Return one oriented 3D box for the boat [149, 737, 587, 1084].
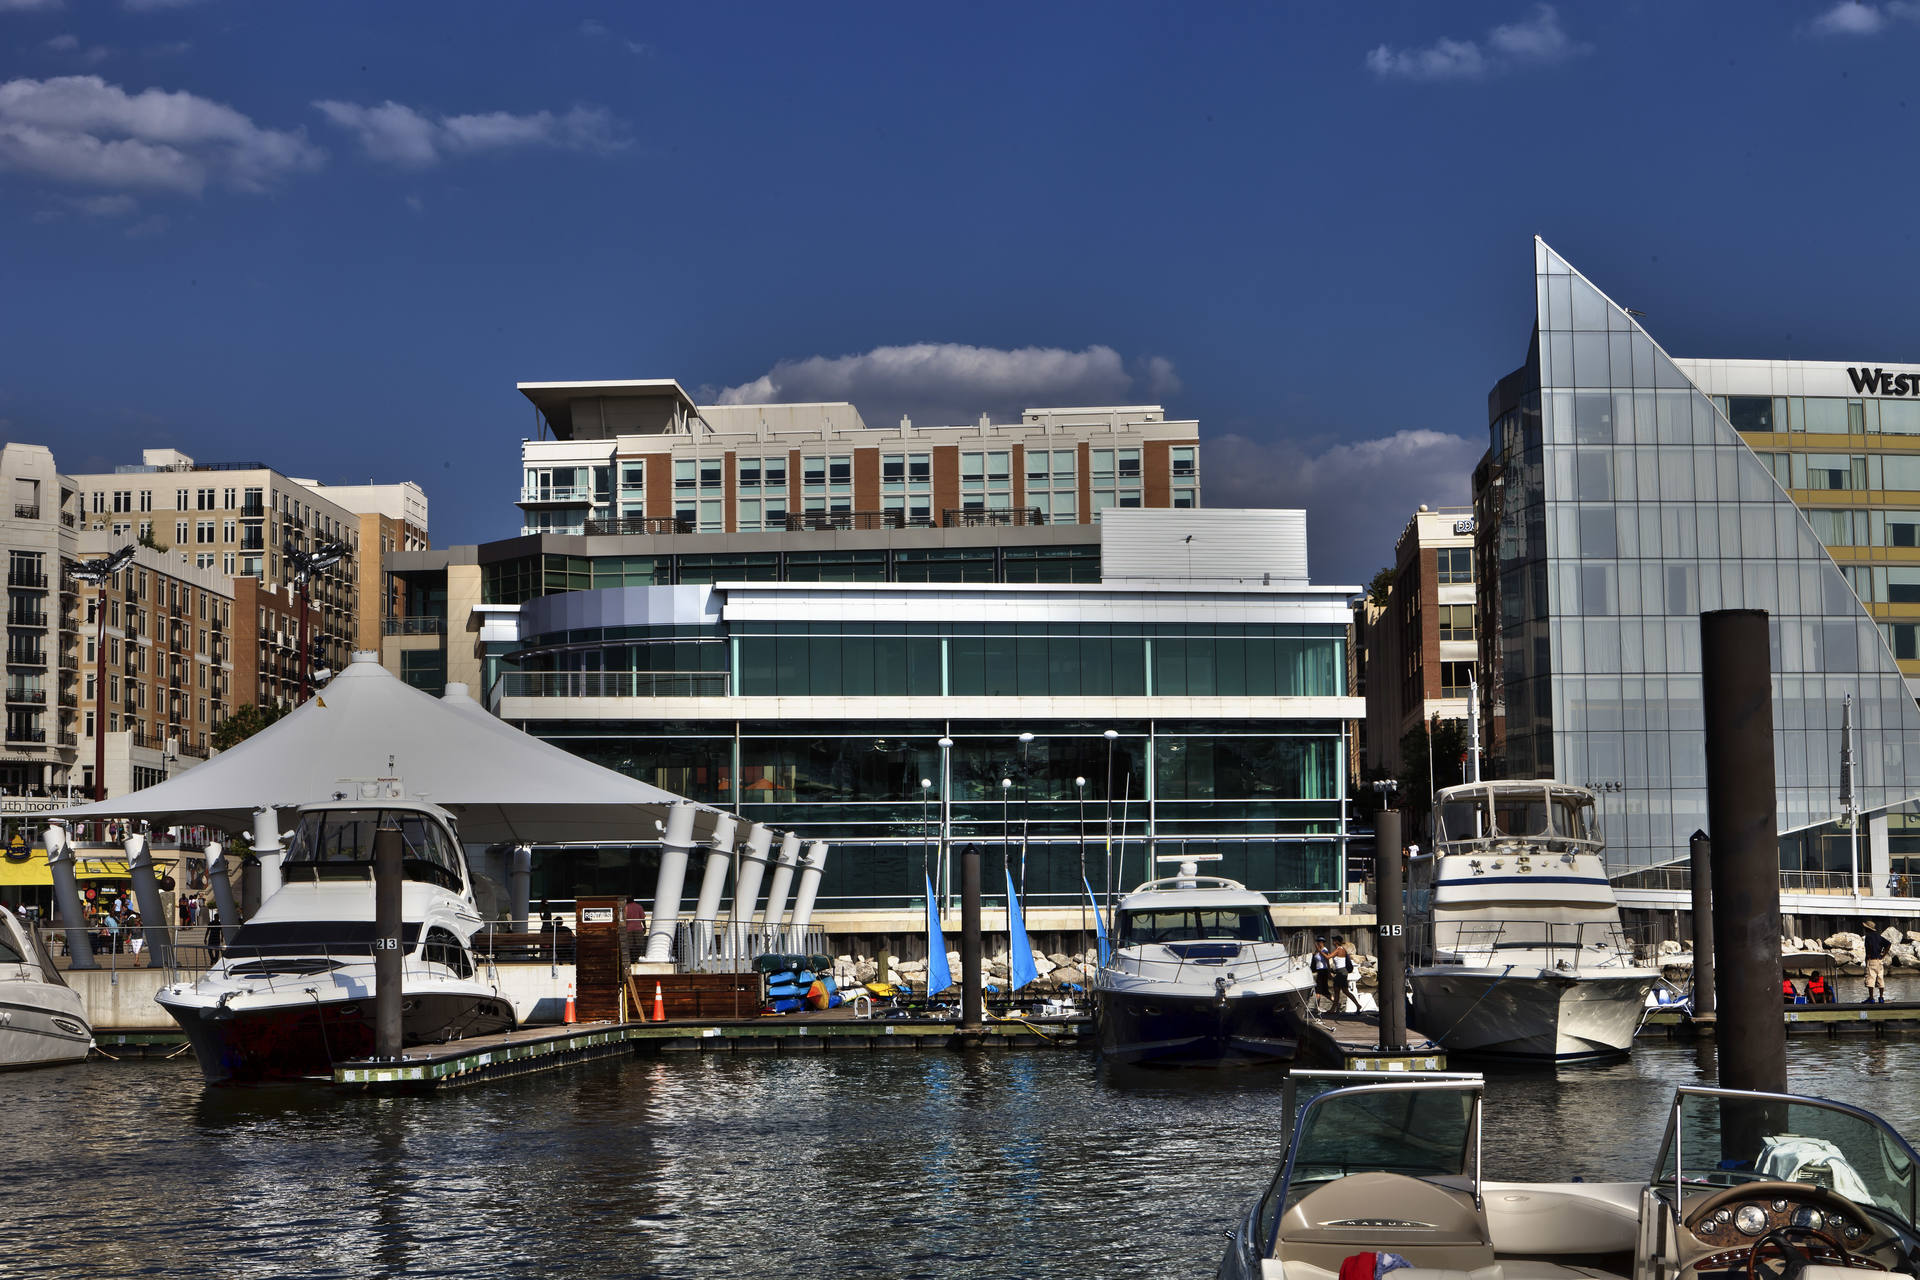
[{"bbox_3d":[-16.077,8.064,91.181,5.501,7.568,10.746,-4,-6,24],"label":"boat"}]
